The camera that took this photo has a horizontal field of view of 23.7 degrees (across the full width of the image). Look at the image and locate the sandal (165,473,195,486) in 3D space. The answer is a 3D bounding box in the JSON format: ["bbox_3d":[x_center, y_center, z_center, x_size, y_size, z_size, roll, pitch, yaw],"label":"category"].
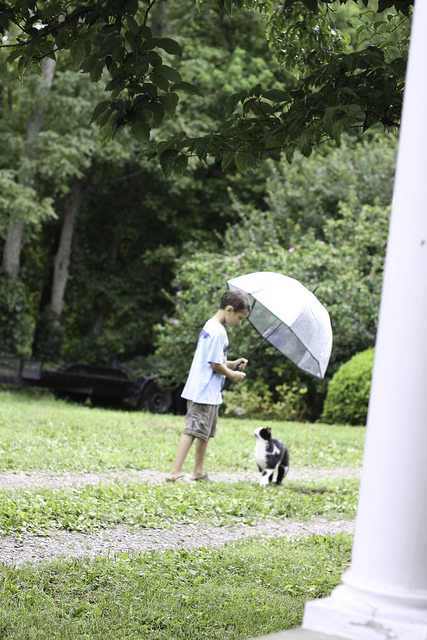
[{"bbox_3d":[-0.240,1.148,7.301,0.210,0.068,0.081,3,2,-17],"label":"sandal"}]

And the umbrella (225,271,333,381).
[{"bbox_3d":[0.454,0.177,7.033,0.669,0.675,0.761,19,-3,-8],"label":"umbrella"}]

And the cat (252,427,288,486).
[{"bbox_3d":[0.428,1.027,7.667,0.238,0.314,0.359,6,3,18],"label":"cat"}]

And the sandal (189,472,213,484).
[{"bbox_3d":[-0.101,1.156,7.429,0.176,0.070,0.058,-2,5,-13],"label":"sandal"}]
